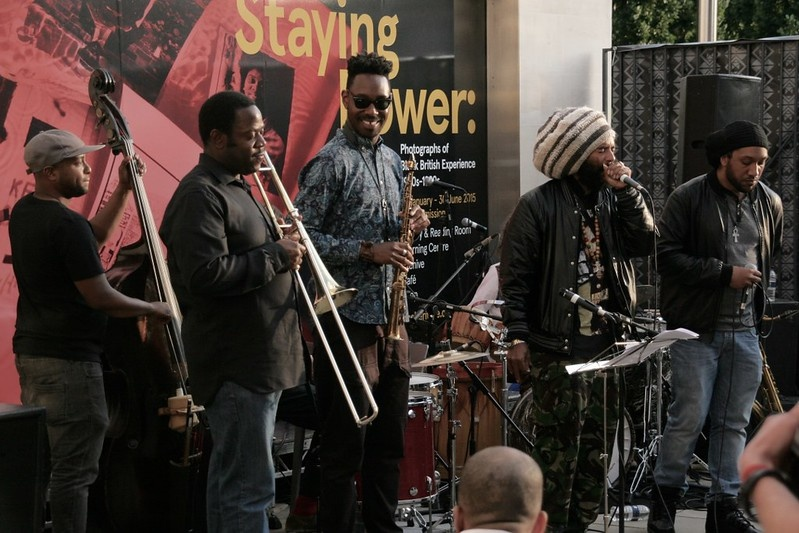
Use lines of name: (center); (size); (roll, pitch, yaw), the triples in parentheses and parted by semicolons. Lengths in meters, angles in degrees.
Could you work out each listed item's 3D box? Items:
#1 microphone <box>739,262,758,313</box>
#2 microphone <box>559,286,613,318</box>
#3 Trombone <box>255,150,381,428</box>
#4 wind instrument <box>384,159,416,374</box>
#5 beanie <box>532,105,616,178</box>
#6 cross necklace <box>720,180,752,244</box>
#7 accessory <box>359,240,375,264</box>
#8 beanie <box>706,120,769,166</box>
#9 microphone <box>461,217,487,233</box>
microphone: (2.504, 0.168, 5.889); (0.105, 0.418, 0.109); (13, 3, 38)
microphone: (1.155, 0.222, 5.134); (0.290, 0.058, 0.063); (26, -40, 9)
Trombone: (-0.451, 0.141, 4.741); (0.407, 1.954, 0.400); (-12, -17, -46)
wind instrument: (0.035, -0.028, 5.065); (0.213, 1.204, 0.220); (2, 1, 3)
beanie: (0.915, -0.800, 5.409); (0.402, 0.541, 0.980); (1, -1, 3)
cross necklace: (2.437, -0.354, 5.843); (0.191, 0.355, 0.081); (-1, 5, 2)
accessory: (-0.200, -0.084, 4.864); (0.060, 0.109, 0.079); (-15, 29, -41)
beanie: (2.430, -0.904, 5.905); (0.400, 0.336, 0.236); (-2, -5, 22)
microphone: (0.718, -0.413, 8.033); (0.352, 0.112, 0.115); (23, 27, 36)
